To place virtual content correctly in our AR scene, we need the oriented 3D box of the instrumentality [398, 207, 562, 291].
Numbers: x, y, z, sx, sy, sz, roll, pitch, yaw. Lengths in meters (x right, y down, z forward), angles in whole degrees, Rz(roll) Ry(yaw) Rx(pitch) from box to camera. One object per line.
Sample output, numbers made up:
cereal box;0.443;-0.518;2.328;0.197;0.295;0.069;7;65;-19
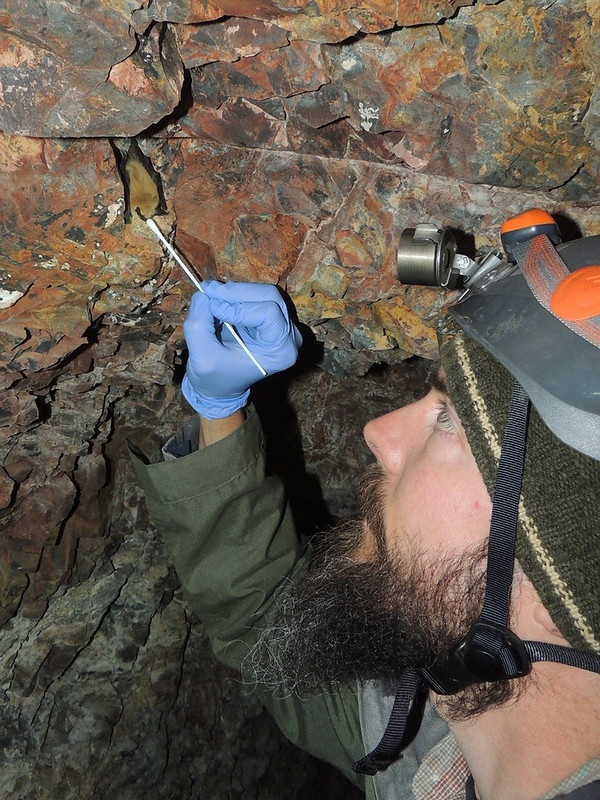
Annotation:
instrumentality;0.442;-0.354;1.523;0.377;0.139;0.353;-6;11;23
